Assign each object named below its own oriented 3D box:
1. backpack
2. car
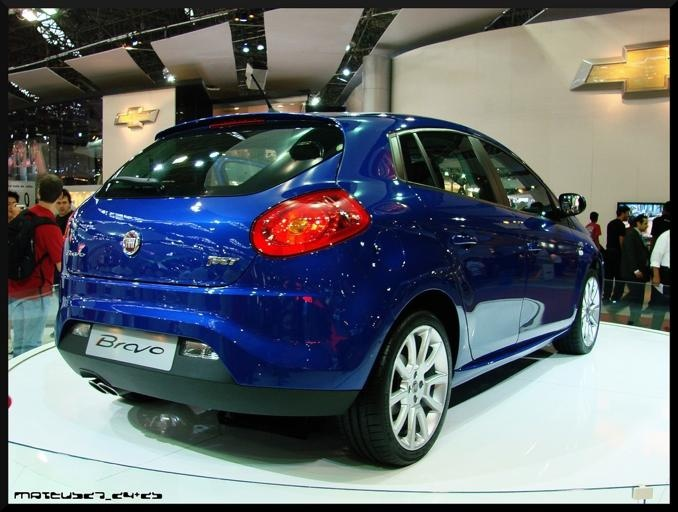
[{"bbox_3d":[-2.526,-0.080,3.687,0.337,0.570,0.151,-3,11,-29],"label":"backpack"},{"bbox_3d":[0.357,-0.029,2.659,1.569,0.915,2.836,2,4,42],"label":"car"}]
